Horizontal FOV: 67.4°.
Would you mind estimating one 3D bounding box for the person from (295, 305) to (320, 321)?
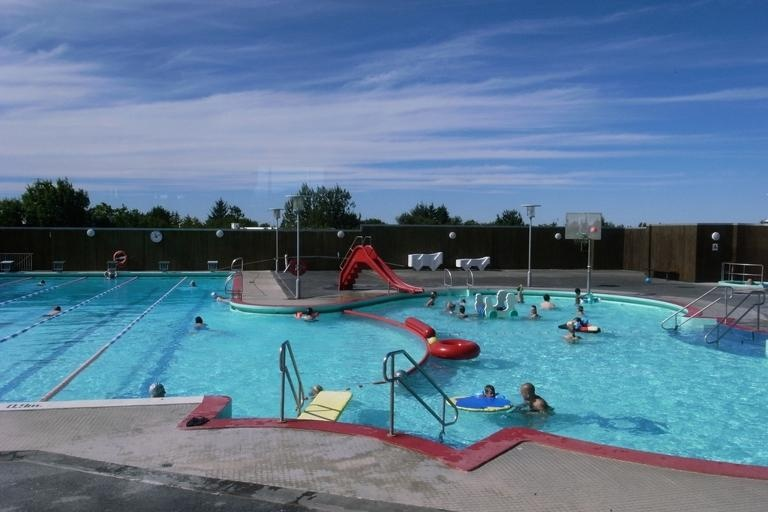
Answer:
[{"bbox_3d":[-2.340,1.791,17.782,0.736,0.404,0.723,3,-3,-8],"label":"person"}]

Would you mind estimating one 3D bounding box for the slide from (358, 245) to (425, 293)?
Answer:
[{"bbox_3d":[0.083,0.493,21.592,1.891,1.718,2.171,3,-3,-15],"label":"slide"}]

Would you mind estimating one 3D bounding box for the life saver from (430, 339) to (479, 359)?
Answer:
[{"bbox_3d":[1.638,2.239,13.742,1.191,0.443,0.540,2,-3,4],"label":"life saver"}]

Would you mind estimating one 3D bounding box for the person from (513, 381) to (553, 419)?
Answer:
[{"bbox_3d":[2.794,2.745,10.933,0.944,0.616,0.492,0,11,24],"label":"person"}]

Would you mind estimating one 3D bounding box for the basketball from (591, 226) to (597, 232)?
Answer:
[{"bbox_3d":[7.497,-0.966,20.773,0.215,0.167,0.212,3,14,33],"label":"basketball"}]
